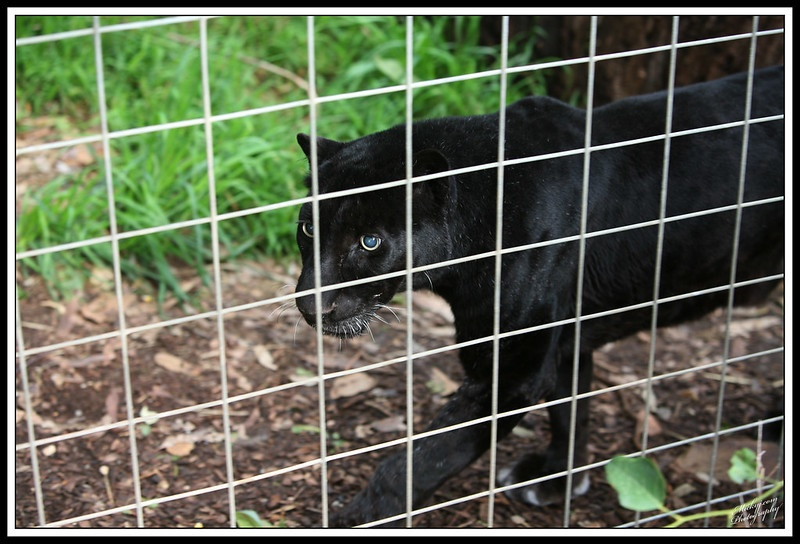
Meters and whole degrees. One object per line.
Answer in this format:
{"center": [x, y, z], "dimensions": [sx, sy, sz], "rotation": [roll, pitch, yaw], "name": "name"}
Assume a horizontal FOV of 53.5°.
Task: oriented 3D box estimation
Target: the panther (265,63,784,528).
{"center": [0.769, 0.088, 3.788], "dimensions": [3.486, 1.659, 0.862], "rotation": [-13, 29, -42], "name": "panther"}
